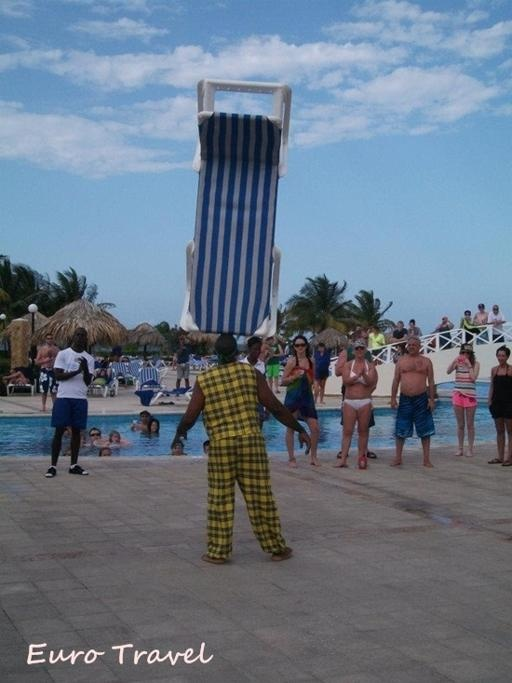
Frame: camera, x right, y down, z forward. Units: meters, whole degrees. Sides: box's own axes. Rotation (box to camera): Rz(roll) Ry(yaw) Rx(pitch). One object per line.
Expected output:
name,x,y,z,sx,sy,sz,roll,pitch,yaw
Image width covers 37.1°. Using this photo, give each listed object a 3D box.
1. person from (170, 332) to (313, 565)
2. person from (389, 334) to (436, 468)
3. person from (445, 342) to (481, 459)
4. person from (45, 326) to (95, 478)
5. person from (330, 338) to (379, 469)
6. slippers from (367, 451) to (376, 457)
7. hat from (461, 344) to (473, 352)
person,-0.131,0.707,5.083,0.806,1.181,0.295,2,-1,-5
person,2.039,0.785,9.905,0.556,1.116,0.792,2,-1,10
person,3.037,0.841,11.284,0.434,1.628,0.900,2,-1,16
person,-2.121,0.670,8.740,0.464,1.499,0.620,3,-1,-13
person,1.319,0.798,9.998,0.470,1.173,1.022,2,-1,7
slippers,1.626,1.601,10.838,0.116,0.107,0.309,-1,-10,4
hat,3.044,0.076,10.992,0.209,0.143,0.200,1,-8,5
